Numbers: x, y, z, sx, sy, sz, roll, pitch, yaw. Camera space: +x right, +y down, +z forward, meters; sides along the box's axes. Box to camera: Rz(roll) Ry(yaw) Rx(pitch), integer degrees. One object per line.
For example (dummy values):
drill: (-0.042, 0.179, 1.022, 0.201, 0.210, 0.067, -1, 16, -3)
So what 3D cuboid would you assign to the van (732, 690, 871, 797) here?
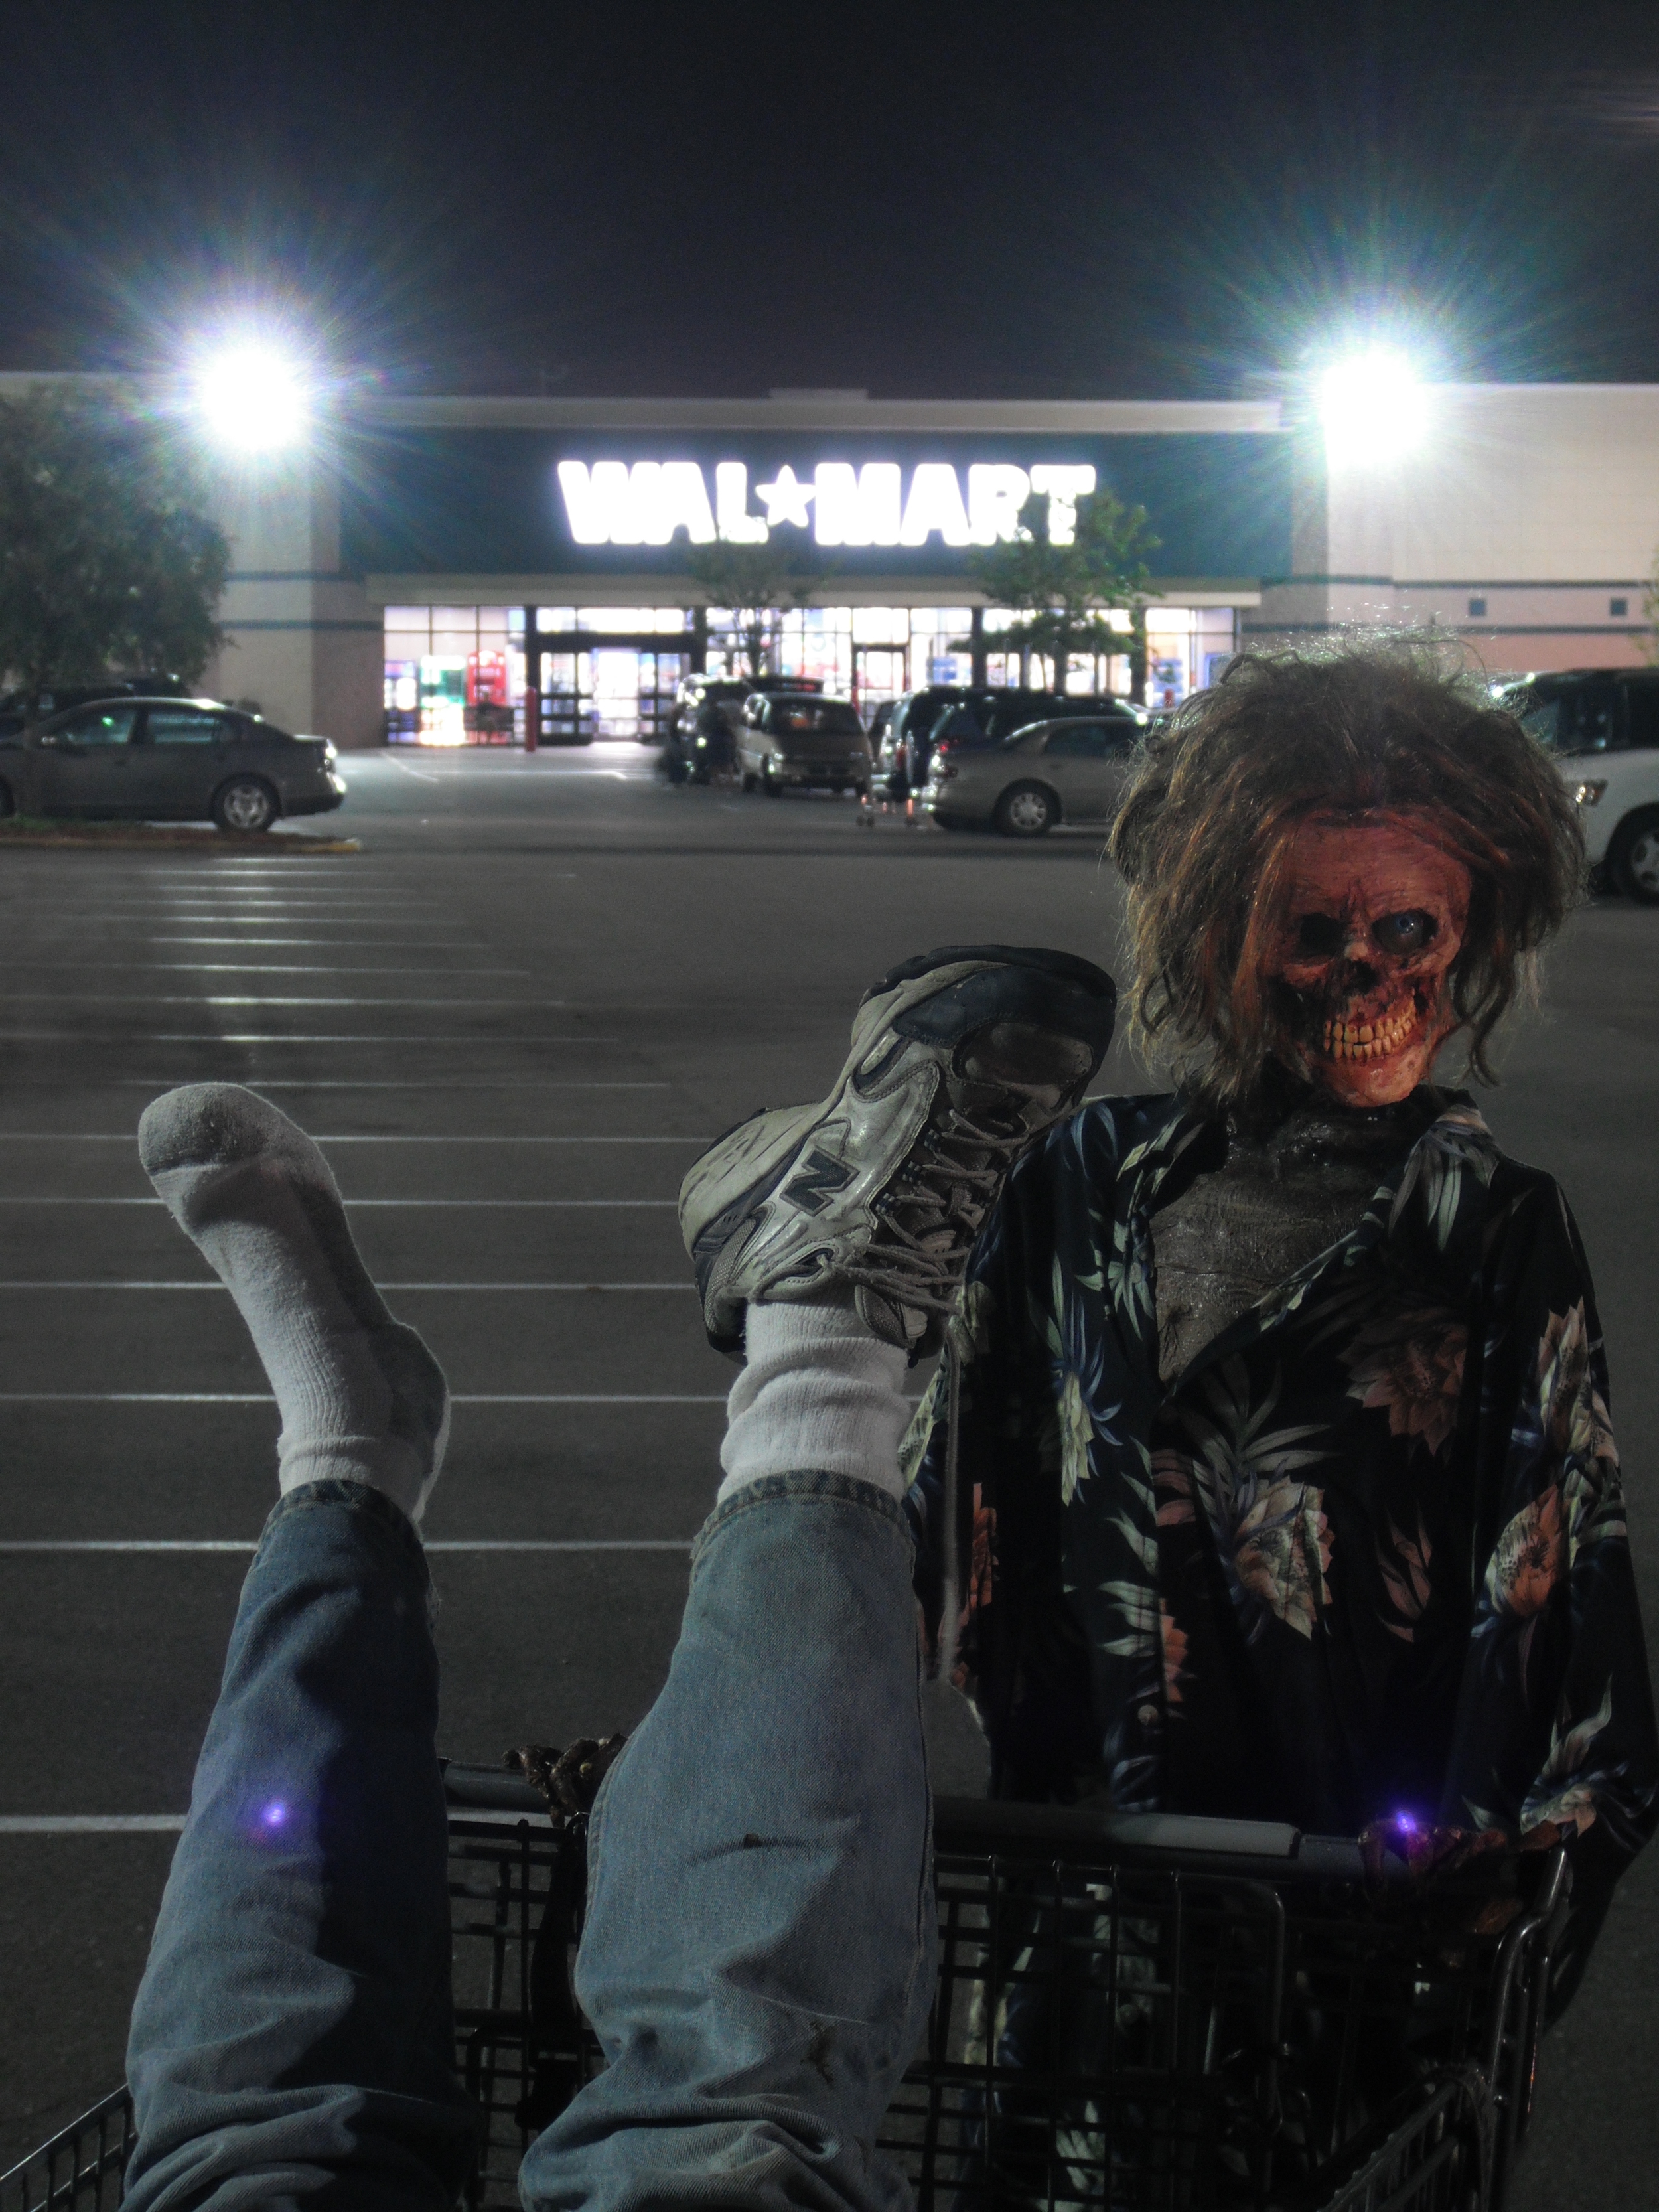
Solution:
van: (-0.533, -6.500, 45.572, 1.777, 1.664, 3.428, -1, 6, -12)
